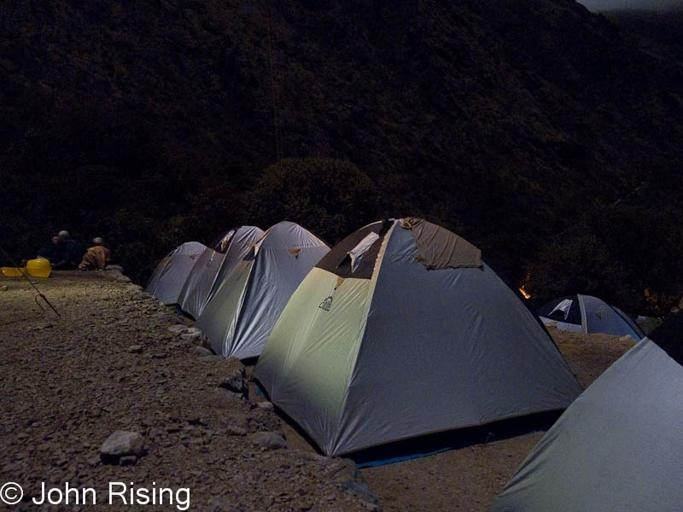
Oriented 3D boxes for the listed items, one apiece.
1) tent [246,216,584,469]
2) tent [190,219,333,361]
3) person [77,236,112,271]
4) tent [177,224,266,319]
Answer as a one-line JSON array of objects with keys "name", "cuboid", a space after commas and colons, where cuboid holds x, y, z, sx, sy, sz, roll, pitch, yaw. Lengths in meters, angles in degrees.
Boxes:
[{"name": "tent", "cuboid": [1.001, 2.054, 13.437, 4.822, 3.565, 4.993, -9, 13, -25]}, {"name": "tent", "cuboid": [-1.615, 0.469, 16.401, 4.281, 2.645, 4.403, 0, 10, -16]}, {"name": "person", "cuboid": [-9.425, -0.086, 22.380, 1.010, 1.580, 1.101, 5, -8, -9]}, {"name": "tent", "cuboid": [-3.665, 0.318, 17.115, 2.328, 1.397, 2.904, 15, 43, 36]}]
